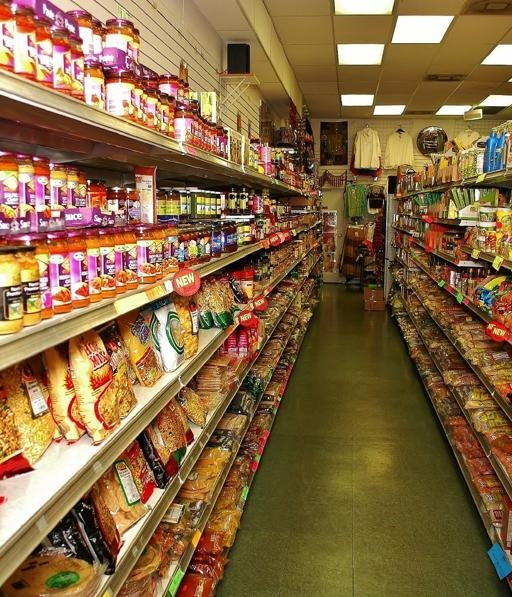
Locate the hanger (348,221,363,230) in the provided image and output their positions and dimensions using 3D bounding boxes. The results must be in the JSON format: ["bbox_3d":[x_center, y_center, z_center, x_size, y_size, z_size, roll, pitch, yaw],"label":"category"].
[{"bbox_3d":[2.893,-2.064,11.637,0.332,0.113,0.331,12,23,23],"label":"hanger"}]

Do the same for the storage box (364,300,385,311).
[{"bbox_3d":[2.656,0.179,8.994,0.332,0.157,0.236,1,2,5],"label":"storage box"}]

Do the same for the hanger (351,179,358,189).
[{"bbox_3d":[2.859,-3.287,11.662,0.243,0.214,0.052,3,-16,-23],"label":"hanger"}]

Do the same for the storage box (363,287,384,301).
[{"bbox_3d":[2.626,-0.090,8.980,0.340,0.194,0.329,1,7,8],"label":"storage box"}]

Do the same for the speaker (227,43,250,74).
[{"bbox_3d":[-0.184,-2.492,4.215,0.227,0.313,0.338,2,12,4],"label":"speaker"}]

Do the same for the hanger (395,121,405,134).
[{"bbox_3d":[4.008,-4.687,11.179,0.250,0.332,0.221,2,9,17],"label":"hanger"}]

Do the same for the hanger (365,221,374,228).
[{"bbox_3d":[3.297,-2.125,11.729,0.209,0.192,0.370,2,8,15],"label":"hanger"}]
